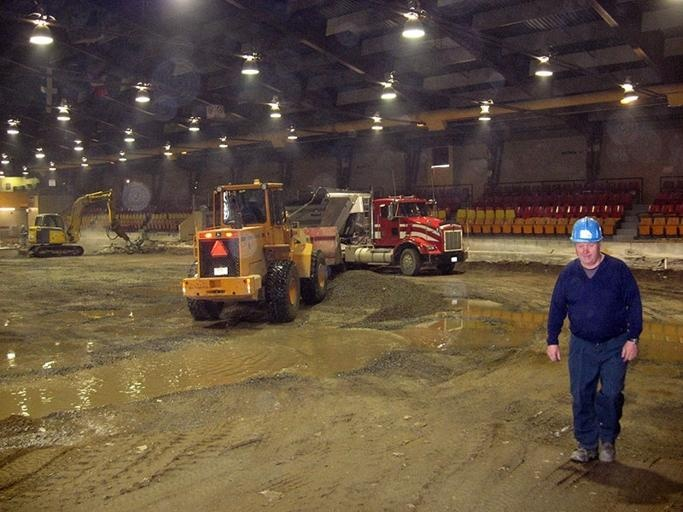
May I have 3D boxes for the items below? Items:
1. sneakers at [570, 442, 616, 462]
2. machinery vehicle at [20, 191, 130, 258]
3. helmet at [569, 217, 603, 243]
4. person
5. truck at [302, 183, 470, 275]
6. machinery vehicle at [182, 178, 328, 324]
[{"bbox_3d":[2.570,1.989,5.577,0.533,0.247,0.186,7,-5,-16],"label":"sneakers"},{"bbox_3d":[-14.073,-1.778,29.082,1.908,3.357,5.142,1,5,45],"label":"machinery vehicle"},{"bbox_3d":[2.483,-0.252,5.459,0.275,0.209,0.381,-2,3,34],"label":"helmet"},{"bbox_3d":[2.516,0.853,5.440,0.840,2.446,0.401,1,10,20],"label":"person"},{"bbox_3d":[0.414,-0.815,17.287,5.300,2.341,2.496,1,4,28],"label":"truck"},{"bbox_3d":[-1.858,-0.181,12.336,2.280,2.844,4.279,-1,5,15],"label":"machinery vehicle"}]
